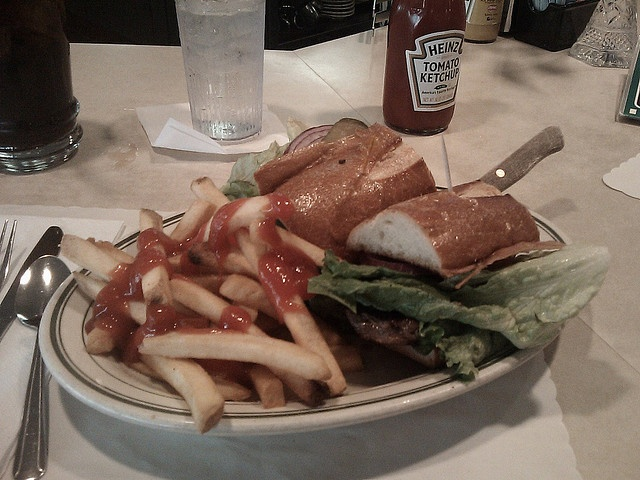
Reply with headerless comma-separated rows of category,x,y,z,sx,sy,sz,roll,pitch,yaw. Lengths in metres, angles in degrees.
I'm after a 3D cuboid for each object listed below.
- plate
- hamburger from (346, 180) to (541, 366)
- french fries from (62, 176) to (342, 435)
plate,-0.231,0.207,0.973,0.587,0.068,0.322,-8,36,-10
hamburger,0.244,0.039,1.214,0.405,0.326,0.316,1,19,-3
french fries,-0.222,0.114,1.031,0.444,0.154,0.460,-18,51,-32
